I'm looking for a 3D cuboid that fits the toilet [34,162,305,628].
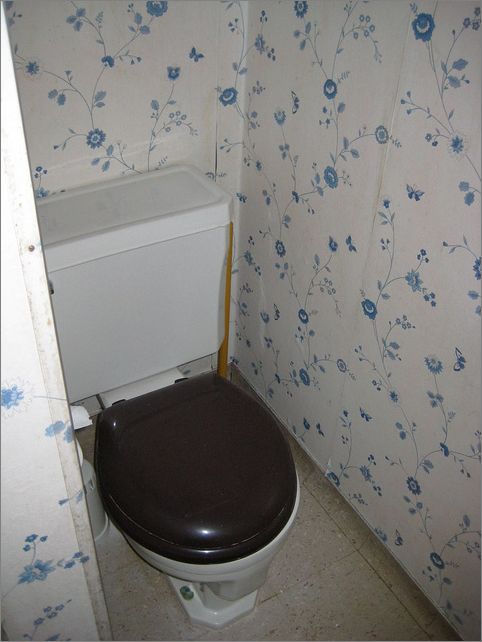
[{"bbox_3d":[-0.162,0.190,1.077,0.322,0.778,0.622,-22,40,-26],"label":"toilet"}]
